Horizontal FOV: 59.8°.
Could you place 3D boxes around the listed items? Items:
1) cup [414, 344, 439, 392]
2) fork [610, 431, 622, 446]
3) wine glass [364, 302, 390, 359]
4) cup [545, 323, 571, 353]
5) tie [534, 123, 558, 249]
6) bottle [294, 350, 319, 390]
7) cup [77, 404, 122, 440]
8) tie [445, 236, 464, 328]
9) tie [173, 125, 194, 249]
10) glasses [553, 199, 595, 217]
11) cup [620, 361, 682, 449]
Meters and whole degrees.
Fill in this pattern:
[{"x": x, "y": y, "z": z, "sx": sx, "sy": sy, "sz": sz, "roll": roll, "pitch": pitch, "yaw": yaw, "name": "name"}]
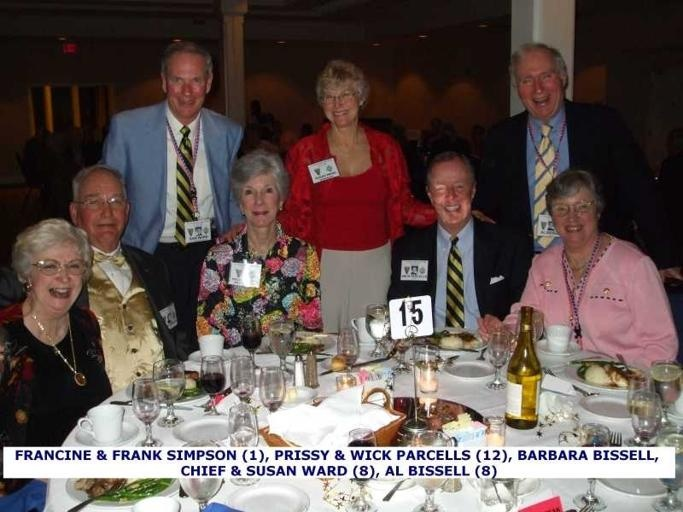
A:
[{"x": 0.359, "y": 0.492, "z": 2.549, "sx": 0.120, "sy": 0.201, "sz": 0.124, "roll": -1, "pitch": -1, "yaw": 0, "name": "cup"}, {"x": 0.980, "y": 0.658, "z": 2.126, "sx": 0.034, "sy": 0.012, "sz": 0.068, "roll": 1, "pitch": 45, "yaw": 5, "name": "fork"}, {"x": 0.188, "y": 0.380, "z": 2.970, "sx": 0.145, "sy": 0.239, "sz": 0.152, "roll": 8, "pitch": -11, "yaw": -24, "name": "wine glass"}, {"x": 1.064, "y": 0.398, "z": 2.919, "sx": 0.112, "sy": 0.098, "sz": 0.127, "roll": 3, "pitch": 8, "yaw": 14, "name": "cup"}, {"x": 1.361, "y": -0.461, "z": 3.988, "sx": 0.164, "sy": 0.842, "sz": 0.243, "roll": -1, "pitch": 6, "yaw": 20, "name": "tie"}, {"x": -0.156, "y": 0.519, "z": 2.649, "sx": 0.132, "sy": 0.166, "sz": 0.133, "roll": 0, "pitch": -5, "yaw": 0, "name": "bottle"}, {"x": -0.919, "y": 0.658, "z": 2.261, "sx": 0.153, "sy": 0.095, "sz": 0.108, "roll": 4, "pitch": -2, "yaw": -16, "name": "cup"}, {"x": 0.695, "y": 0.164, "z": 3.668, "sx": 0.111, "sy": 0.534, "sz": 0.233, "roll": -2, "pitch": 6, "yaw": 13, "name": "tie"}, {"x": -1.061, "y": -0.472, "z": 3.993, "sx": 0.156, "sy": 0.780, "sz": 0.097, "roll": -5, "pitch": 6, "yaw": -16, "name": "tie"}, {"x": 1.266, "y": -0.250, "z": 3.243, "sx": 0.199, "sy": 0.075, "sz": 0.067, "roll": -1, "pitch": 7, "yaw": 21, "name": "glasses"}, {"x": 1.143, "y": 0.560, "z": 2.186, "sx": 0.198, "sy": 0.338, "sz": 0.225, "roll": 0, "pitch": -10, "yaw": 3, "name": "cup"}]
